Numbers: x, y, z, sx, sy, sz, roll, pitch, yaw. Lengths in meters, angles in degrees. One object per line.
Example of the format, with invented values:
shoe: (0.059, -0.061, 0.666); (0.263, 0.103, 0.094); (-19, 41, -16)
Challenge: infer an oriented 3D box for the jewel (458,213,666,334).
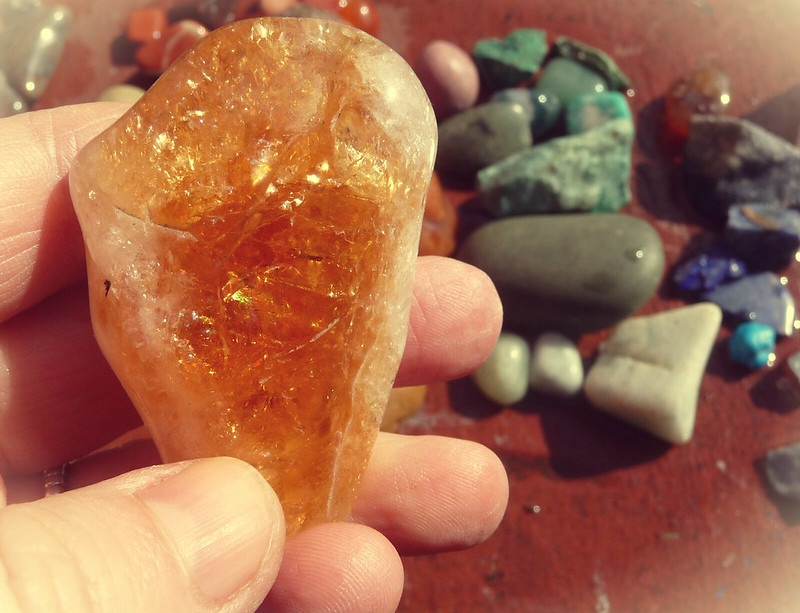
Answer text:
jewel: (0.261, -0.043, 1.474); (0.253, 0.144, 0.192); (-7, 91, 9)

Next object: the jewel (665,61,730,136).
jewel: (0.476, -0.330, 1.482); (0.081, 0.062, 0.118); (31, 99, 19)

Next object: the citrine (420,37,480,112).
citrine: (0.075, -0.375, 1.589); (0.096, 0.093, 0.118); (11, 77, -37)

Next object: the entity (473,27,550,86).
entity: (0.195, -0.420, 1.558); (0.101, 0.033, 0.096); (8, 79, 2)

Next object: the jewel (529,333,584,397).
jewel: (0.240, 0.091, 1.408); (0.081, 0.044, 0.085); (19, 67, 3)

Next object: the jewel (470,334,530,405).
jewel: (0.164, 0.102, 1.466); (0.084, 0.051, 0.104); (22, 104, -3)

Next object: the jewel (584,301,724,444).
jewel: (0.376, 0.078, 1.366); (0.165, 0.079, 0.212); (26, 68, 6)
